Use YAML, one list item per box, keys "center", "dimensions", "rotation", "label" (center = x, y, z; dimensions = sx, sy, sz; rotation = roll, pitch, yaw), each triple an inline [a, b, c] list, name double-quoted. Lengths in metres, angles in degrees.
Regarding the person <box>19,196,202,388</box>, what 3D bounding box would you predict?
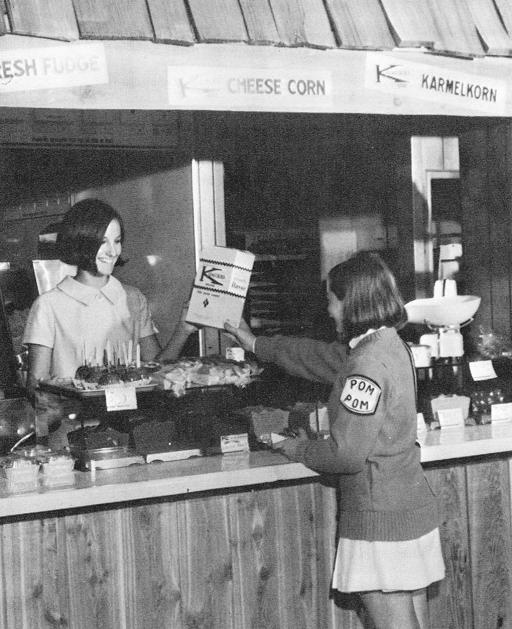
- center: [-0.549, -0.029, 3.097]
  dimensions: [0.629, 1.074, 0.511]
  rotation: [-2, 4, -41]
  label: "person"
